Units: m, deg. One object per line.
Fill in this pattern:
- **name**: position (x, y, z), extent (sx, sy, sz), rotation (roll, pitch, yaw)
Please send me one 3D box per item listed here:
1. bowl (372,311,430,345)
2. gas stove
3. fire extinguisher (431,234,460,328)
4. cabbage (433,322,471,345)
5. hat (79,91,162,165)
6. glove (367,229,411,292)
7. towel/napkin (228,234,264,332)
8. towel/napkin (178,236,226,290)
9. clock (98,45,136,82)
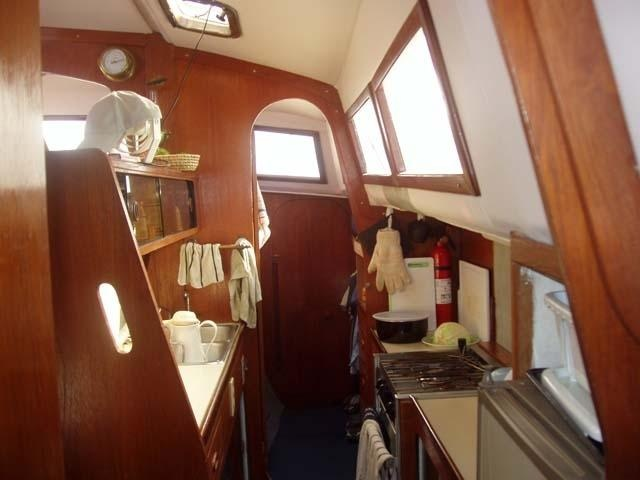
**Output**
- **bowl**: position (0.498, 0.538, 3.222), extent (0.326, 0.173, 0.324), rotation (1, 11, 0)
- **gas stove**: position (0.610, 0.742, 2.632), extent (0.647, 0.223, 0.644), rotation (0, 11, -8)
- **fire extinguisher**: position (0.809, 0.264, 3.371), extent (0.138, 0.636, 0.169), rotation (-2, -1, 0)
- **cabbage**: position (0.764, 0.525, 3.012), extent (0.159, 0.144, 0.133), rotation (11, 28, 17)
- **hat**: position (-0.823, -0.471, 2.228), extent (0.331, 0.382, 0.396), rotation (-1, 2, -4)
- **glove**: position (0.445, 0.113, 3.388), extent (0.272, 0.411, 0.124), rotation (-5, 6, 7)
- **towel/napkin**: position (-0.502, 0.283, 3.319), extent (0.172, 0.661, 0.347), rotation (-2, 0, -17)
- **towel/napkin**: position (-0.743, 0.160, 3.070), extent (0.258, 0.298, 0.151), rotation (-1, -13, -11)
- **clock**: position (-1.287, -1.105, 3.174), extent (0.185, 0.213, 0.064), rotation (6, 5, -8)
